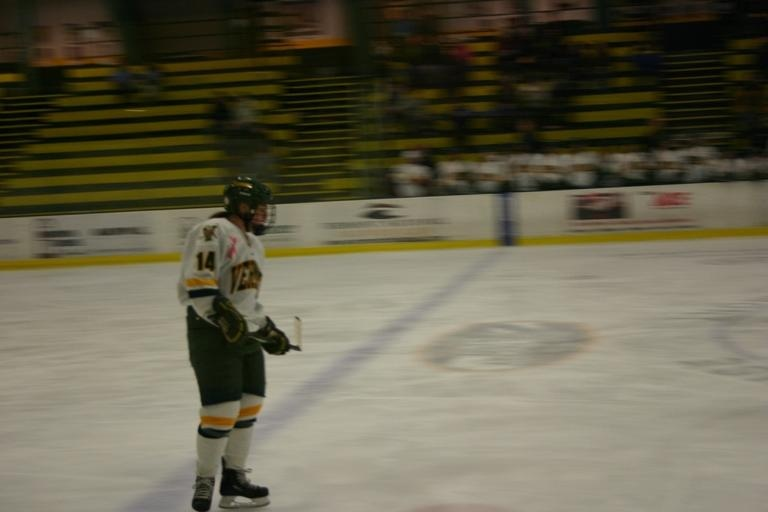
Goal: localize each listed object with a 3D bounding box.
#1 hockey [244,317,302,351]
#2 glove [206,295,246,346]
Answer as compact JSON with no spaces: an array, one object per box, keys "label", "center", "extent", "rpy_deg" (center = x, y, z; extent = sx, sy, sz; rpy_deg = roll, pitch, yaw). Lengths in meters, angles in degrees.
[{"label":"hockey","center":[-1.386,1.026,20.424],"extent":[0.833,0.146,0.402],"rpy_deg":[4,9,-6]},{"label":"glove","center":[-1.979,0.834,20.028],"extent":[0.425,0.720,0.266],"rpy_deg":[-52,-1,16]}]
